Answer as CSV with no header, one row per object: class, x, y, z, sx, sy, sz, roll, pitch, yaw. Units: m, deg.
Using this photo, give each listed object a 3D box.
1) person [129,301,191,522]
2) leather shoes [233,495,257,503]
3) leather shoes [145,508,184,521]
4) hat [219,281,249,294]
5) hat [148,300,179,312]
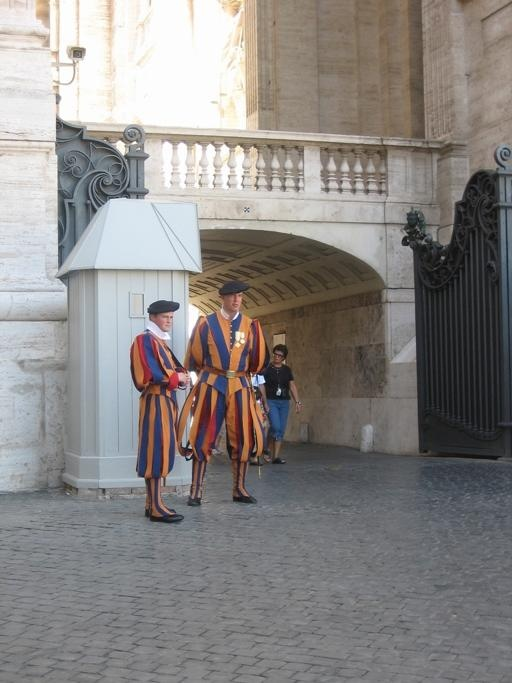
person,-0.652,0.468,8.340,0.401,1.473,0.748,-1,5,-3
leather shoes,-0.084,1.187,9.066,0.182,0.045,0.064,-9,-9,44
leather shoes,-0.601,1.170,8.114,0.186,0.053,0.099,-5,-5,28
hat,-0.162,-0.396,8.972,0.198,0.100,0.362,-1,5,-3
hat,-0.644,-0.240,8.435,0.145,0.047,0.105,-2,1,20
